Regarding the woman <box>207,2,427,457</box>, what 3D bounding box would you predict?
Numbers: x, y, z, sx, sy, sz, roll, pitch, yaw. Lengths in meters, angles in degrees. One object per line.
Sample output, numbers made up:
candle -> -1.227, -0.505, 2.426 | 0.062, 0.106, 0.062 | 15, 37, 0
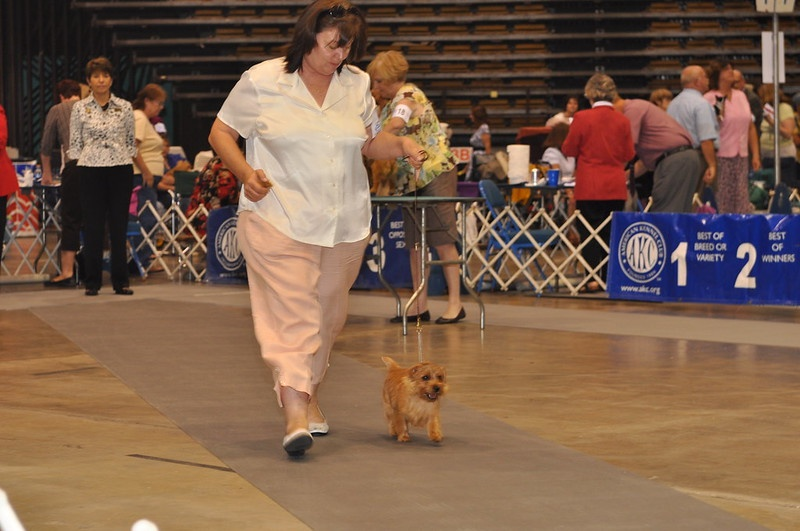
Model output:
woman -> -0.620, -0.241, 7.713 | 1.093, 2.751, 0.537 | 0, 4, -4

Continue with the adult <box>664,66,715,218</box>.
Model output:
adult -> 3.089, -1.467, 12.989 | 0.530, 1.257, 0.958 | 1, 4, 14

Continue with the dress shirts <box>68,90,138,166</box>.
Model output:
dress shirts -> -2.916, -1.302, 12.006 | 0.877, 0.813, 0.478 | 1, -7, -20

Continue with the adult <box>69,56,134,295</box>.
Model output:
adult -> -2.913, -0.905, 12.024 | 0.801, 2.253, 0.704 | 1, -11, -25

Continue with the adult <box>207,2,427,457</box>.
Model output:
adult -> -0.604, -0.240, 7.701 | 1.109, 2.751, 0.508 | 0, 4, -8

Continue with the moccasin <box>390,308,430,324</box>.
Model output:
moccasin -> 0.106, 0.419, 10.747 | 0.361, 0.129, 0.119 | 4, -7, -26

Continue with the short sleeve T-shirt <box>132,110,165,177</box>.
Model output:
short sleeve T-shirt -> -2.830, -1.349, 13.889 | 0.258, 0.410, 0.440 | 10, -1, 15

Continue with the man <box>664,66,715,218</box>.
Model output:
man -> 3.088, -1.467, 12.985 | 0.530, 1.257, 0.950 | 1, 4, 14

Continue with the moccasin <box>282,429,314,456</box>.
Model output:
moccasin -> -0.633, 1.055, 7.619 | 0.178, 0.185, 0.163 | 0, 4, -7
